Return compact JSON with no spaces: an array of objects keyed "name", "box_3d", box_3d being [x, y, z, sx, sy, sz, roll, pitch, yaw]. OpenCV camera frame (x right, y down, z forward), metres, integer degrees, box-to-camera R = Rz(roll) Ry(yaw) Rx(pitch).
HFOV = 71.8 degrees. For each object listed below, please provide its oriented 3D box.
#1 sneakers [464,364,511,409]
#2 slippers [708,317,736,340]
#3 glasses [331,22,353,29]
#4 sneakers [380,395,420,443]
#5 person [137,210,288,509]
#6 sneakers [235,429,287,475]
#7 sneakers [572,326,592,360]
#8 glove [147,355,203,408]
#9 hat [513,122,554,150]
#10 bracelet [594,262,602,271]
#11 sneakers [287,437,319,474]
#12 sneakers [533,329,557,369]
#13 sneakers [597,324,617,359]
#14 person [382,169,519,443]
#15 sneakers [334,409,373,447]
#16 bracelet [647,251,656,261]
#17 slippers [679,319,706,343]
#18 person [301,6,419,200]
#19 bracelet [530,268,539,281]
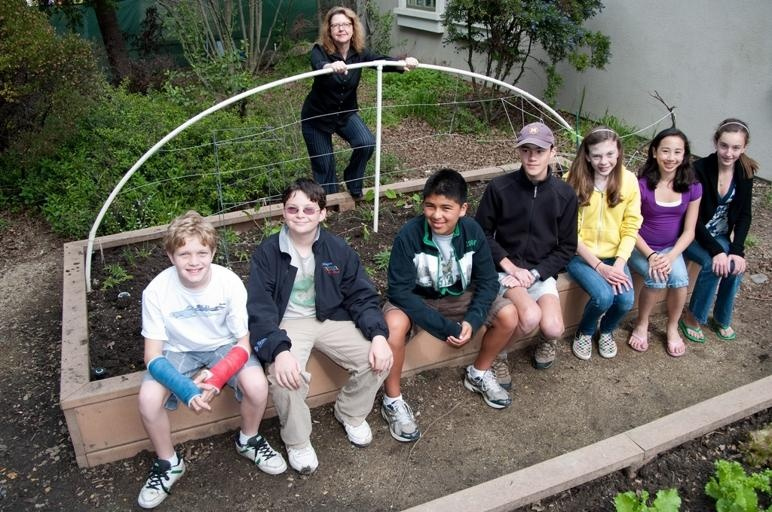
[{"name":"sneakers","box_3d":[0.783,0.990,4.131,0.218,0.213,0.442,-13,24,-36]},{"name":"slippers","box_3d":[2.990,0.665,4.787,0.117,0.068,0.246,-20,36,-10]},{"name":"glasses","box_3d":[-0.427,-2.195,5.073,0.188,0.061,0.056,-4,31,-7]},{"name":"sneakers","box_3d":[0.096,1.166,3.923,0.197,0.185,0.455,-7,23,-25]},{"name":"person","box_3d":[-1.263,0.642,3.504,0.867,1.618,0.872,-10,32,-16]},{"name":"sneakers","box_3d":[-0.836,1.337,3.680,0.438,0.197,0.176,29,52,18]},{"name":"sneakers","box_3d":[1.651,0.724,4.497,0.110,0.115,0.286,2,47,7]},{"name":"glove","box_3d":[-1.350,0.804,3.384,0.364,0.158,0.146,35,74,28]},{"name":"hat","box_3d":[1.155,-0.941,4.119,0.259,0.171,0.266,6,31,9]},{"name":"bracelet","box_3d":[1.712,0.081,4.318,0.046,0.062,0.063,41,16,17]},{"name":"sneakers","box_3d":[-0.587,1.407,3.765,0.205,0.205,0.495,-1,-6,-18]},{"name":"sneakers","box_3d":[1.294,0.797,4.357,0.129,0.241,0.386,7,50,14]},{"name":"sneakers","box_3d":[1.877,0.720,4.532,0.118,0.126,0.313,-2,32,6]},{"name":"person","box_3d":[0.430,0.324,3.903,1.089,1.662,0.896,-10,32,-17]},{"name":"sneakers","box_3d":[-0.209,1.224,3.847,0.148,0.151,0.344,-28,50,-35]},{"name":"bracelet","box_3d":[2.225,0.005,4.459,0.061,0.056,0.055,-3,31,-5]},{"name":"slippers","box_3d":[2.705,0.681,4.722,0.103,0.059,0.248,-17,41,-2]},{"name":"person","box_3d":[-0.388,-1.547,5.439,0.916,1.782,0.930,-16,34,-24]},{"name":"bracelet","box_3d":[1.175,0.148,4.231,0.062,0.031,0.084,15,16,-18]}]
